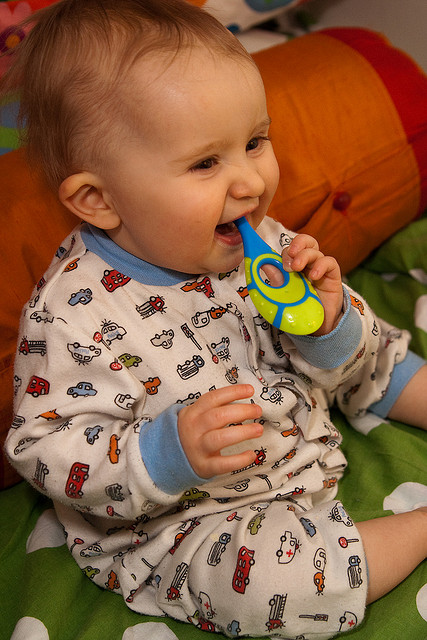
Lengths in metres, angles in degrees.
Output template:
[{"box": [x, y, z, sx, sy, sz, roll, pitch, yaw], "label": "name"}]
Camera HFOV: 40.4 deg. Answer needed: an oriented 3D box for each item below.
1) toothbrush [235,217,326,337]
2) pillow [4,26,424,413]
[{"box": [0.071, -0.047, 0.771, 0.070, 0.026, 0.211, -14, 62, -26], "label": "toothbrush"}, {"box": [-0.120, -0.377, 1.504, 1.244, 0.594, 0.444, -21, 36, -20], "label": "pillow"}]
